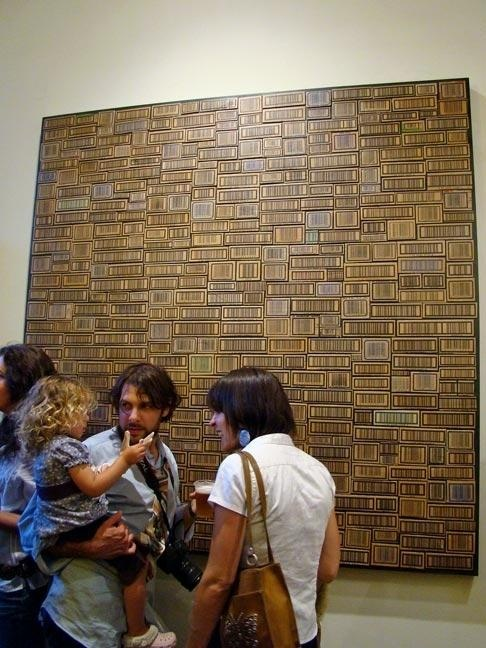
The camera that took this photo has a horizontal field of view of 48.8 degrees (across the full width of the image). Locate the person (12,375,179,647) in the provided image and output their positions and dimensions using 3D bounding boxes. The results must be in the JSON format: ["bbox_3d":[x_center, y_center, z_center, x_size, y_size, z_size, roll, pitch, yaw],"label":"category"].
[{"bbox_3d":[-0.427,0.573,1.575,0.471,0.828,0.257,3,-5,-22],"label":"person"}]
